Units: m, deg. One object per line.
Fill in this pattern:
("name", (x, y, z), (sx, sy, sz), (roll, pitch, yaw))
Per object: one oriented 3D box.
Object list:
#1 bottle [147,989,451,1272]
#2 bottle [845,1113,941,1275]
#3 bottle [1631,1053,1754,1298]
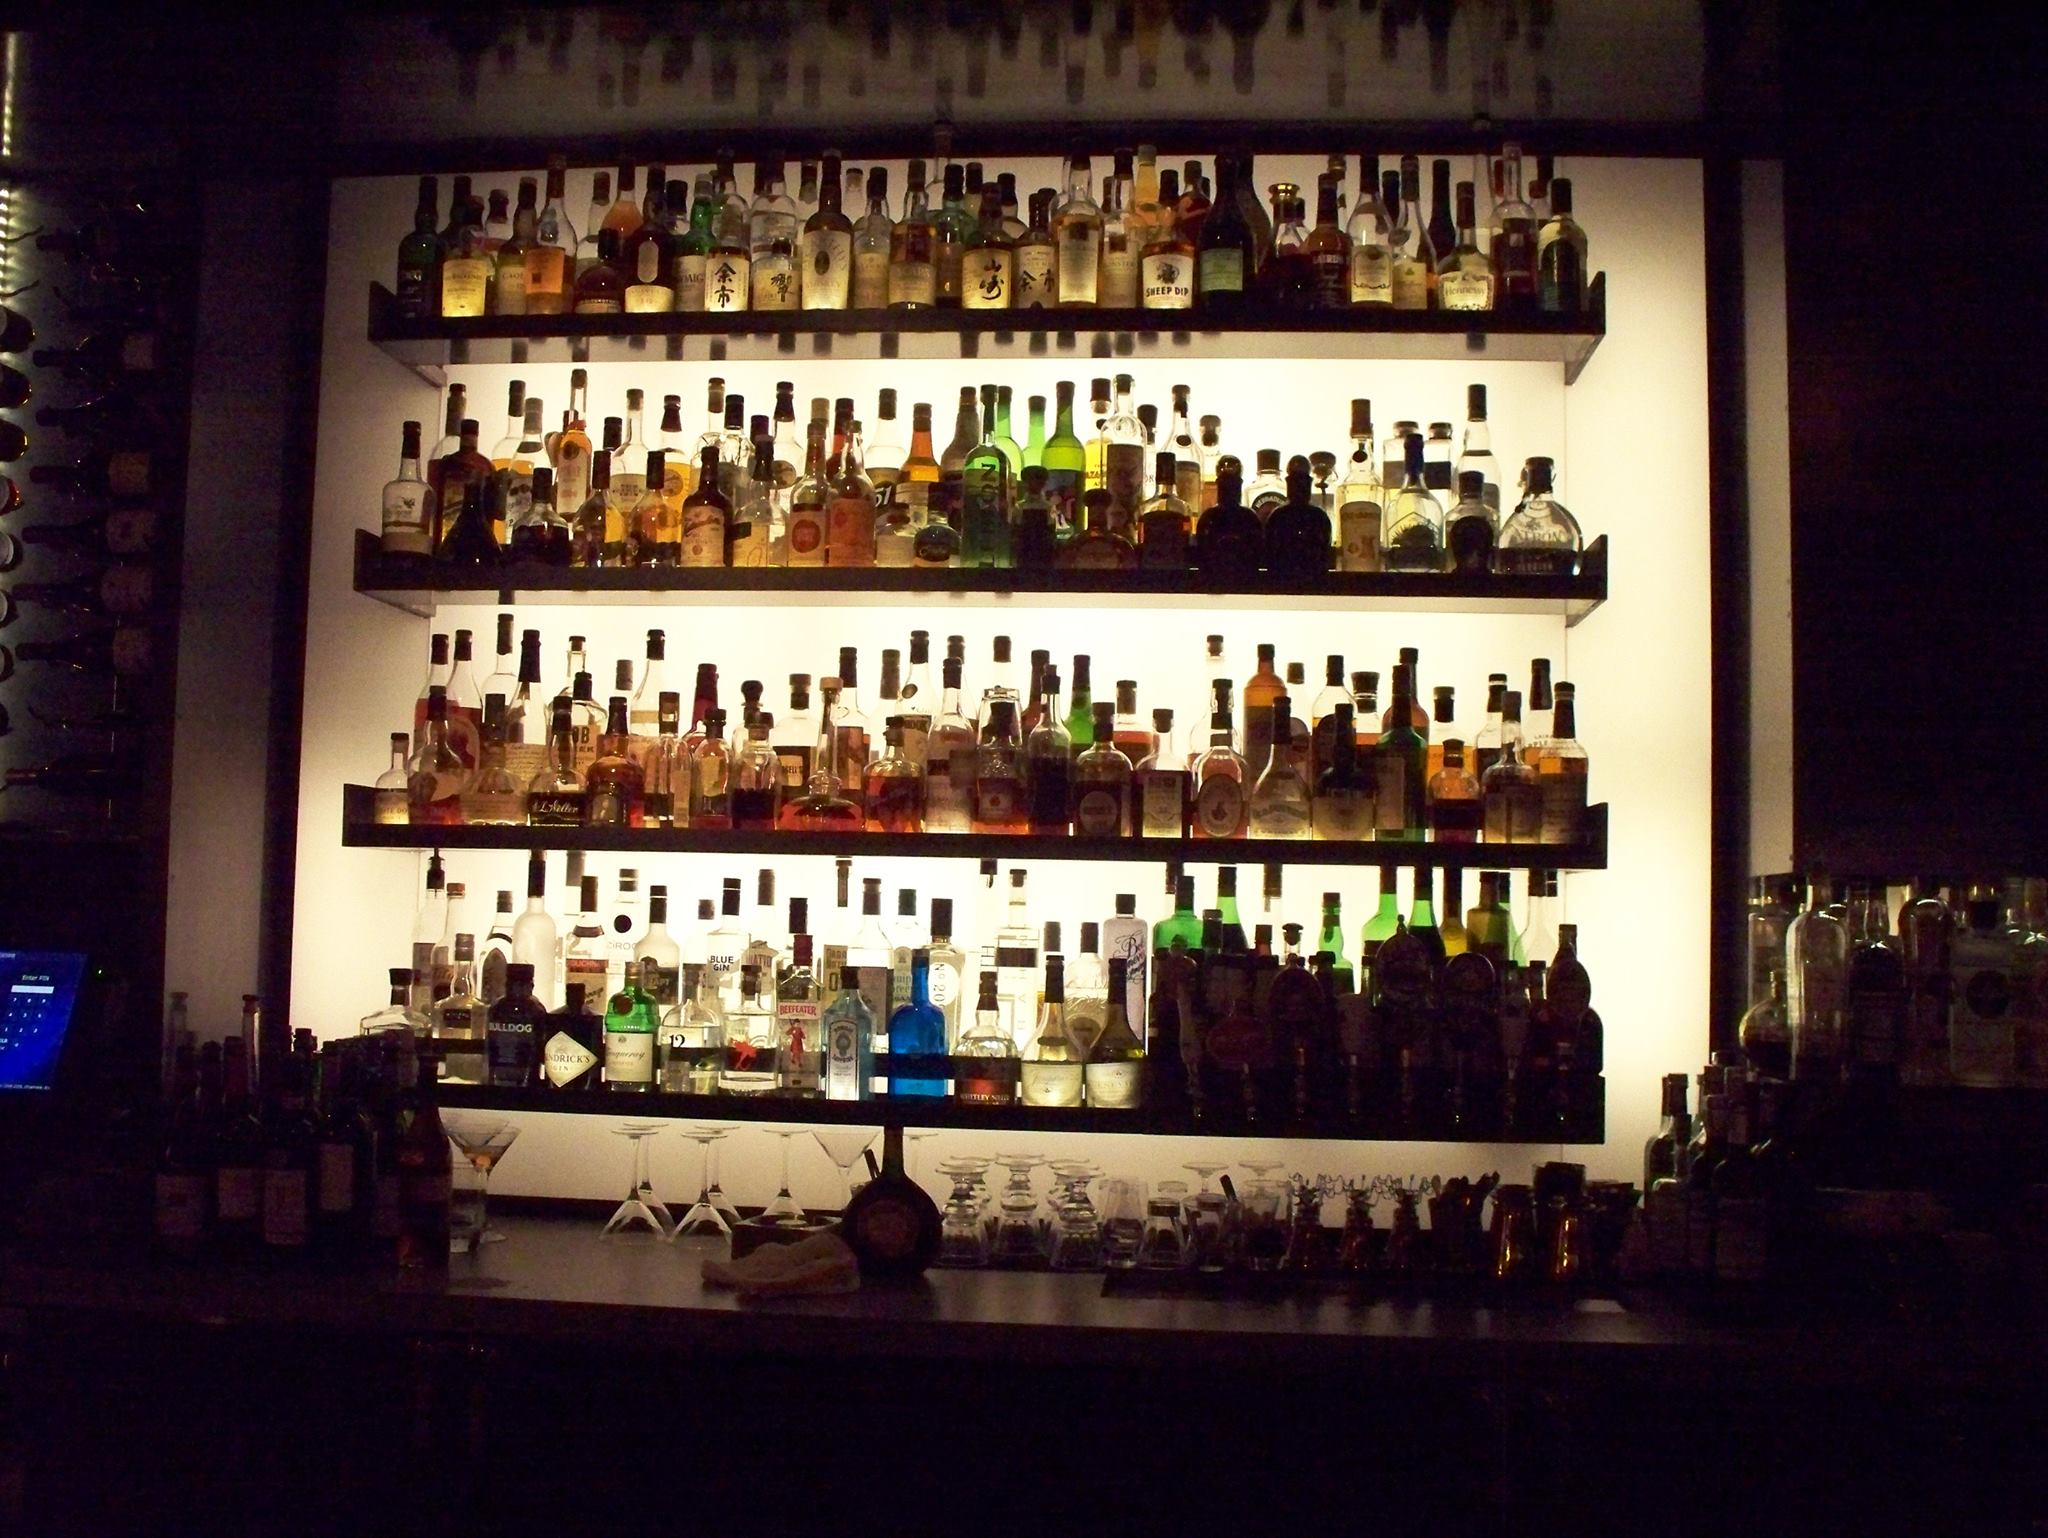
("bottle", (-1.385, 0.705, 4.059), (0.439, 0.419, 0.149), (2, -15, -10))
("bottle", (-0.257, 0.822, 4.134), (0.186, 0.284, 0.180), (1, -1, 0))
("bottle", (1.234, 0.749, 3.999), (0.191, 0.403, 0.285), (1, -1, -7))
